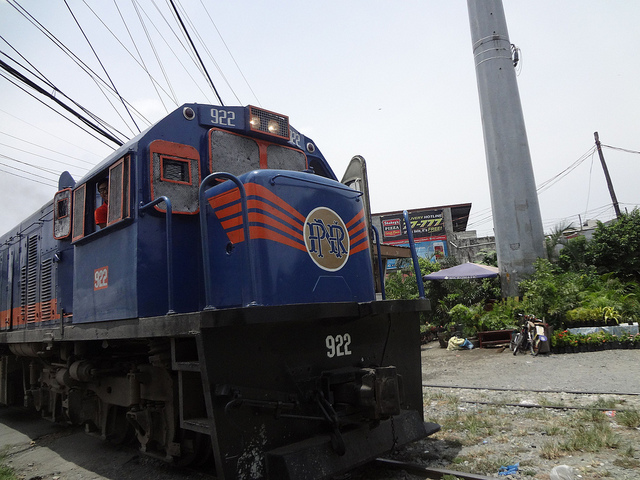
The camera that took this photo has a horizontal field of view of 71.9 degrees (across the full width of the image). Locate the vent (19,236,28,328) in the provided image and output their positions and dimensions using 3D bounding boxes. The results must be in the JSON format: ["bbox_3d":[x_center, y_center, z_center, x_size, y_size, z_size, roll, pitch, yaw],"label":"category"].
[{"bbox_3d":[-6.106,0.852,9.085,0.121,1.852,1.006,1,-8,-35],"label":"vent"}]

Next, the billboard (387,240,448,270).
[{"bbox_3d":[7.562,1.028,33.938,4.572,2.908,0.144,-4,-38,21],"label":"billboard"}]

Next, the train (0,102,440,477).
[{"bbox_3d":[-1.952,0.650,6.158,6.074,5.018,2.317,-7,-7,25],"label":"train"}]

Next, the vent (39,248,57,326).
[{"bbox_3d":[-4.879,0.874,7.884,0.171,1.293,1.105,1,-8,-36],"label":"vent"}]

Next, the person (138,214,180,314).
[{"bbox_3d":[-1.929,0.283,5.560,0.568,1.282,0.410,-7,-7,26],"label":"person"}]

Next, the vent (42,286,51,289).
[{"bbox_3d":[-4.941,0.853,7.980,0.160,0.034,0.020,-17,-24,29],"label":"vent"}]

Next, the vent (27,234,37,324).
[{"bbox_3d":[-5.643,0.752,8.637,0.118,1.728,0.838,1,-8,-36],"label":"vent"}]
